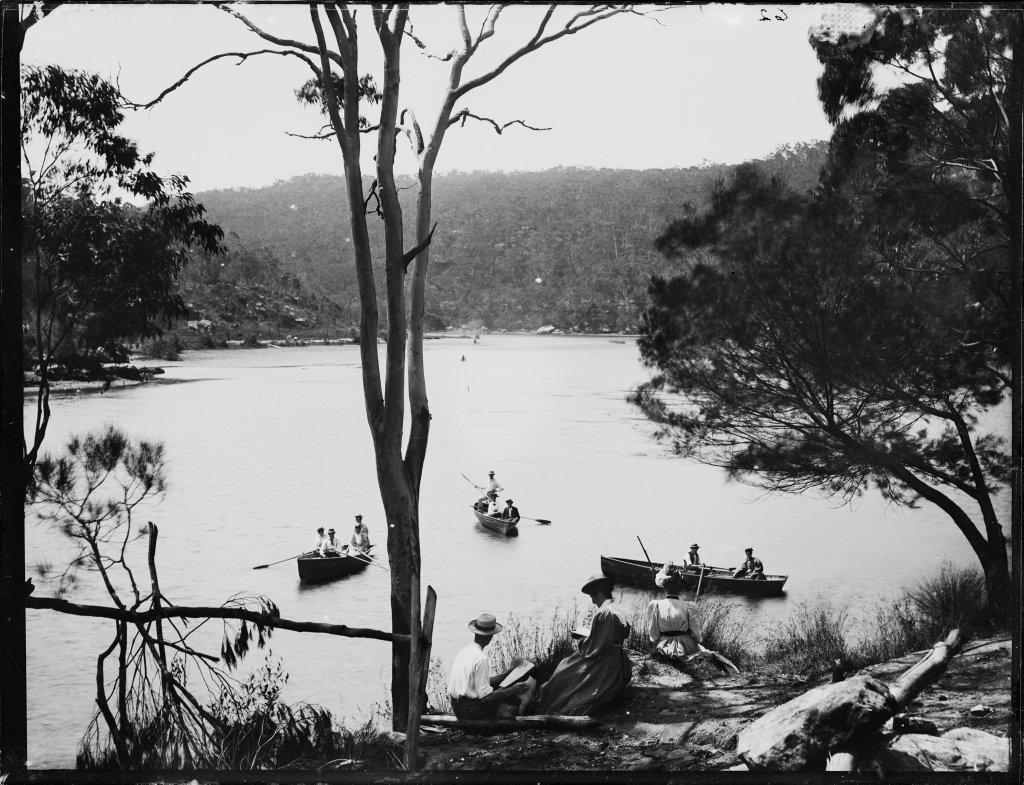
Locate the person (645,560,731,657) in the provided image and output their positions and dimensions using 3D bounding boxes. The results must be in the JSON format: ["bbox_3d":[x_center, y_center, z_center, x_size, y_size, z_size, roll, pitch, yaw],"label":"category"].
[{"bbox_3d":[1.445,1.838,11.373,0.499,0.779,0.749,-6,6,-18],"label":"person"}]

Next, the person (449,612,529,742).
[{"bbox_3d":[-0.233,2.316,11.163,0.680,1.007,0.740,-5,8,-33],"label":"person"}]

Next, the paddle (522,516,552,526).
[{"bbox_3d":[0.192,1.106,11.419,0.220,0.074,0.073,5,8,2],"label":"paddle"}]

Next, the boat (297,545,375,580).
[{"bbox_3d":[-1.533,1.451,11.349,0.535,0.211,0.241,-1,1,-16],"label":"boat"}]

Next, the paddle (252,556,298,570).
[{"bbox_3d":[-2.019,1.451,11.325,0.432,0.059,0.039,-10,0,4],"label":"paddle"}]
